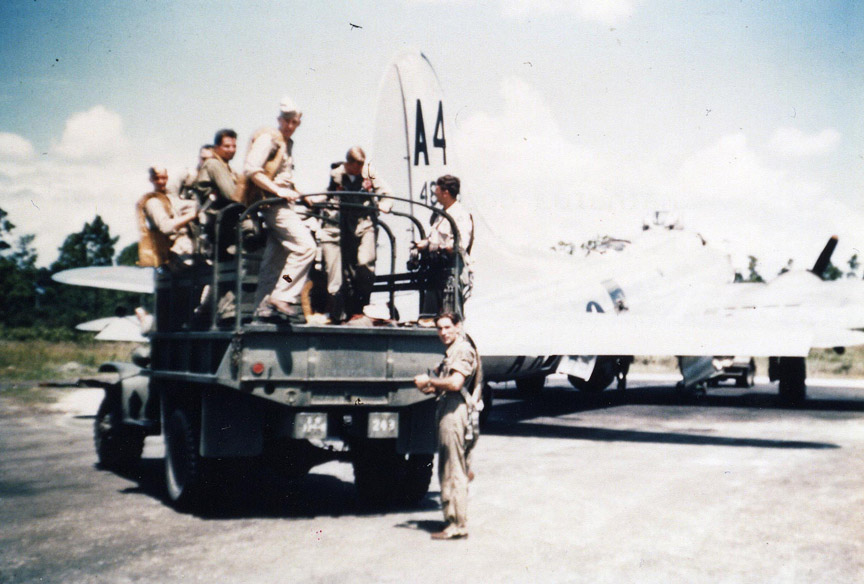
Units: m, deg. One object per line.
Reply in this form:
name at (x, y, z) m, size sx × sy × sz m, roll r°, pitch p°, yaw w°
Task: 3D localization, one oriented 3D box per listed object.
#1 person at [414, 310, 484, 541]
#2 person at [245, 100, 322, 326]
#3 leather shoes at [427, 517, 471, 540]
person at (0.318, 1.925, 13.730) m, size 0.885 × 3.303 × 0.453 m, roll 2°, pitch -2°, yaw -12°
person at (-2.277, -1.328, 14.475) m, size 1.014 × 3.422 × 1.032 m, roll 0°, pitch -3°, yaw 32°
leather shoes at (0.264, 3.471, 13.696) m, size 0.400 × 0.218 × 0.278 m, roll -9°, pitch 2°, yaw -18°
